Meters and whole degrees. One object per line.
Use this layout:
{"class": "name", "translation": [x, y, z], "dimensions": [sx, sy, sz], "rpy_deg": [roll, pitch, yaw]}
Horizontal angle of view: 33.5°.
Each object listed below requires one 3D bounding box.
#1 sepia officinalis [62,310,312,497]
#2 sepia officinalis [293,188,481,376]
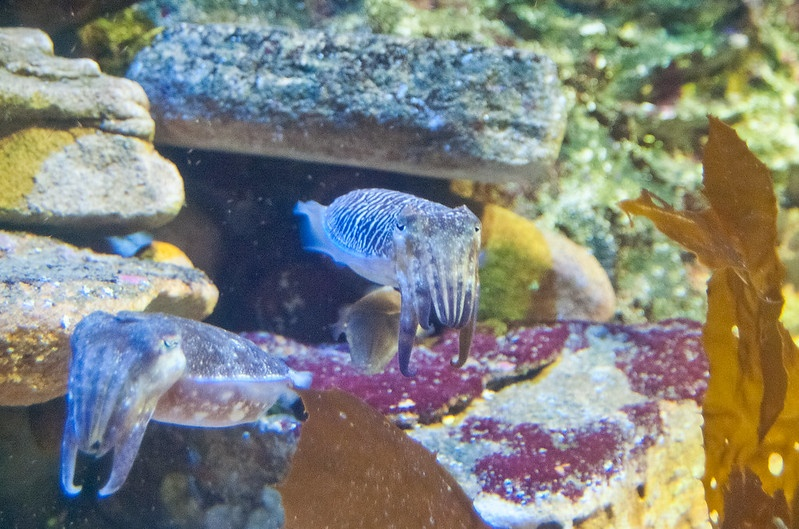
{"class": "sepia officinalis", "translation": [-0.604, 0.358, 3.520], "dimensions": [0.342, 0.439, 0.673], "rpy_deg": [6, 2, 41]}
{"class": "sepia officinalis", "translation": [-0.022, -0.052, 3.691], "dimensions": [0.397, 0.344, 0.516], "rpy_deg": [-9, 40, -36]}
